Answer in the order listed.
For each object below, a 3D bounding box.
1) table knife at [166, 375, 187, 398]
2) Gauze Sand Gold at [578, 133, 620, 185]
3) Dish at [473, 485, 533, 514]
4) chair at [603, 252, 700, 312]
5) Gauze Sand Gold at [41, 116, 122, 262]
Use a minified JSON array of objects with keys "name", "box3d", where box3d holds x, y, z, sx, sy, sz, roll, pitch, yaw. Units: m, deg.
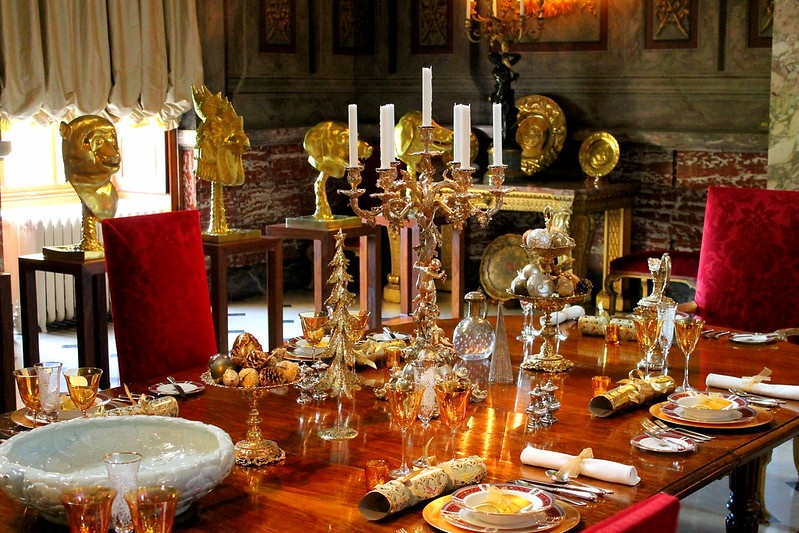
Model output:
[{"name":"table knife","box3d":[-0.690,0.374,2.134,0.032,0.023,0.198,-6,12,-28]},{"name":"Gauze Sand Gold","box3d":[1.655,-0.933,5.735,0.259,0.400,0.255,-3,12,-12]},{"name":"Dish","box3d":[0.219,0.489,1.420,0.062,0.022,0.062,2,5,28]},{"name":"chair","box3d":[1.666,0.085,4.592,0.501,0.367,0.373,1,1,44]},{"name":"Gauze Sand Gold","box3d":[-1.777,-0.461,3.859,0.431,0.793,0.383,-6,13,-22]}]
